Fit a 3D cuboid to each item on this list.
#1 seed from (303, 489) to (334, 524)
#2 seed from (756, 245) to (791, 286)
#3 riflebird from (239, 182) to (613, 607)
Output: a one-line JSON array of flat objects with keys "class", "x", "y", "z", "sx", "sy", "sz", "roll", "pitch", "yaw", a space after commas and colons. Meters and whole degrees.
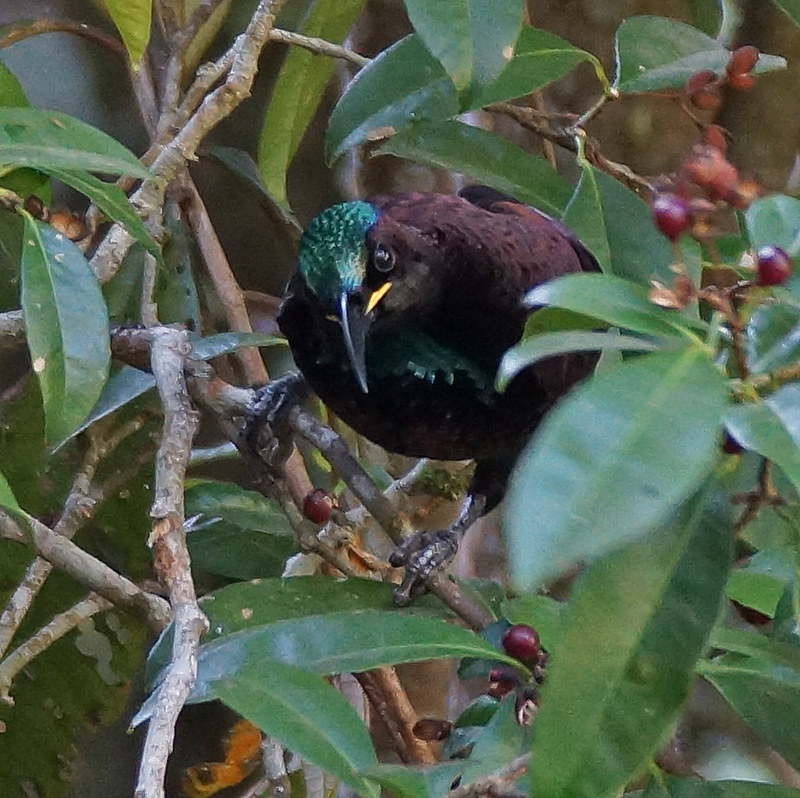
[{"class": "seed", "x": -0.087, "y": 0.117, "z": 1.324, "sx": 0.033, "sy": 0.032, "sz": 0.038, "roll": 4, "pitch": 22, "yaw": -7}, {"class": "seed", "x": 0.289, "y": -0.105, "z": 0.971, "sx": 0.027, "sy": 0.028, "sz": 0.031, "roll": 0, "pitch": 34, "yaw": 10}, {"class": "riflebird", "x": 0.056, "y": -0.103, "z": 1.536, "sx": 0.317, "sy": 0.367, "sz": 0.607, "roll": 24, "pitch": 53, "yaw": 19}]
